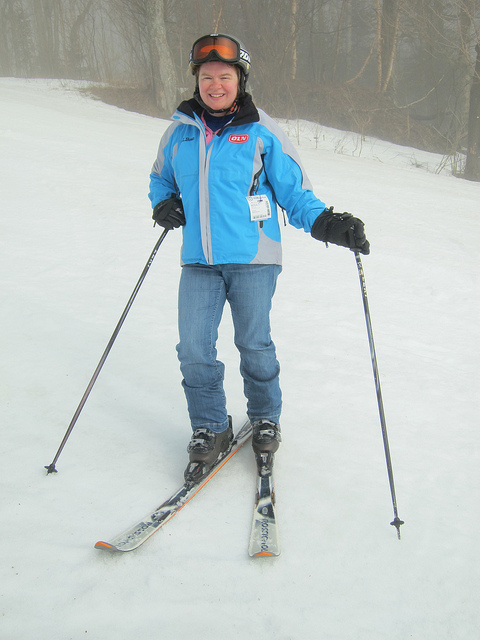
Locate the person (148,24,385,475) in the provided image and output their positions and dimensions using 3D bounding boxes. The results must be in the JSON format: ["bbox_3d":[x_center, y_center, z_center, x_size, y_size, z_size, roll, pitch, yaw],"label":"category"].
[{"bbox_3d":[0.026,-0.303,2.922,0.707,1.841,0.714,-6,19,-20],"label":"person"}]

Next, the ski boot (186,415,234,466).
[{"bbox_3d":[-0.156,0.554,3.001,0.140,0.155,0.386,-4,15,13],"label":"ski boot"}]

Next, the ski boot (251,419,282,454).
[{"bbox_3d":[0.126,0.544,2.974,0.130,0.144,0.142,1,17,0],"label":"ski boot"}]
